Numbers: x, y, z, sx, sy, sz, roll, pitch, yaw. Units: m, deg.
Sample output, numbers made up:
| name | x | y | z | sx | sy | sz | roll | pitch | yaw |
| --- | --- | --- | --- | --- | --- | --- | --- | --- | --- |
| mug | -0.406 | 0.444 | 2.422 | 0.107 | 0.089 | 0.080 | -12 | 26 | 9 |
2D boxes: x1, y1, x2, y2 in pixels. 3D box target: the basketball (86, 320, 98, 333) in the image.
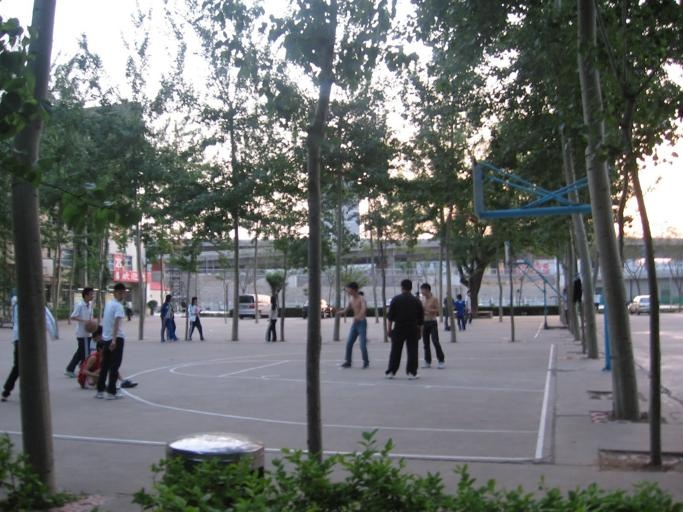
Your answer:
| name | x | y | z | sx | sy | sz | roll | pitch | yaw |
| --- | --- | --- | --- | --- | --- | --- | --- | --- | --- |
| basketball | -5.086 | 1.445 | 14.905 | 0.230 | 0.270 | 0.481 | 1 | -6 | -18 |

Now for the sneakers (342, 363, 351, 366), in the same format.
| name | x | y | z | sx | sy | sz | roll | pitch | yaw |
| --- | --- | --- | --- | --- | --- | --- | --- | --- | --- |
| sneakers | 0.126 | 2.633 | 17.618 | 0.210 | 0.111 | 0.281 | -1 | -6 | 1 |

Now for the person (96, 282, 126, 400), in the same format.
| name | x | y | z | sx | sy | sz | roll | pitch | yaw |
| --- | --- | --- | --- | --- | --- | --- | --- | --- | --- |
| person | -4.167 | 1.491 | 13.219 | 0.474 | 2.086 | 1.420 | 1 | -5 | -19 |

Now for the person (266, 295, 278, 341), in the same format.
| name | x | y | z | sx | sy | sz | roll | pitch | yaw |
| --- | --- | --- | --- | --- | --- | --- | --- | --- | --- |
| person | -2.653 | 2.419 | 27.856 | 0.370 | 1.693 | 1.594 | 0 | -5 | -7 |

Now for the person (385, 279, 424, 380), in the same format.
| name | x | y | z | sx | sy | sz | roll | pitch | yaw |
| --- | --- | --- | --- | --- | --- | --- | --- | --- | --- |
| person | 1.333 | 1.527 | 15.502 | 0.830 | 2.065 | 1.203 | -1 | -5 | 4 |

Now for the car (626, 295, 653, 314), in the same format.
| name | x | y | z | sx | sy | sz | roll | pitch | yaw |
| --- | --- | --- | --- | --- | --- | --- | --- | --- | --- |
| car | 23.708 | 3.853 | 58.215 | 1.368 | 1.660 | 6.283 | -3 | -7 | 22 |

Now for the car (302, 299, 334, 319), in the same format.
| name | x | y | z | sx | sy | sz | roll | pitch | yaw |
| --- | --- | --- | --- | --- | --- | --- | --- | --- | --- |
| car | -1.709 | 4.062 | 55.344 | 1.962 | 1.597 | 3.139 | 2 | 2 | 13 |

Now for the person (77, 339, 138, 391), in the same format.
| name | x | y | z | sx | sy | sz | roll | pitch | yaw |
| --- | --- | --- | --- | --- | --- | --- | --- | --- | --- |
| person | -4.561 | 2.179 | 14.424 | 1.152 | 1.255 | 0.715 | -1 | -4 | -20 |

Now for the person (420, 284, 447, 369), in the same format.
| name | x | y | z | sx | sy | sz | roll | pitch | yaw |
| --- | --- | --- | --- | --- | --- | --- | --- | --- | --- |
| person | 2.157 | 1.693 | 17.908 | 0.596 | 2.037 | 0.604 | -4 | -4 | 24 |

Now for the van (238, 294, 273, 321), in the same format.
| name | x | y | z | sx | sy | sz | roll | pitch | yaw |
| --- | --- | --- | --- | --- | --- | --- | --- | --- | --- |
| van | -6.746 | 4.056 | 56.454 | 1.859 | 1.992 | 5.046 | -1 | 0 | 17 |
